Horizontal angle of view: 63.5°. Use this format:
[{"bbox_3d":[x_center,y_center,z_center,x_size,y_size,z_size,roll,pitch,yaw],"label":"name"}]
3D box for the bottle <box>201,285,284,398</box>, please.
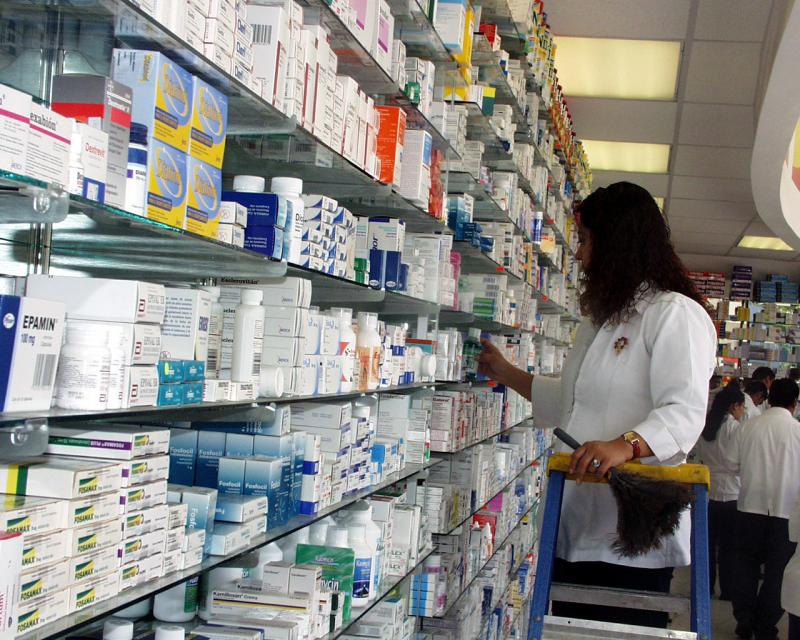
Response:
[{"bbox_3d":[-0.379,0.048,1.449,0.152,0.259,0.281,1,-5,18],"label":"bottle"}]
